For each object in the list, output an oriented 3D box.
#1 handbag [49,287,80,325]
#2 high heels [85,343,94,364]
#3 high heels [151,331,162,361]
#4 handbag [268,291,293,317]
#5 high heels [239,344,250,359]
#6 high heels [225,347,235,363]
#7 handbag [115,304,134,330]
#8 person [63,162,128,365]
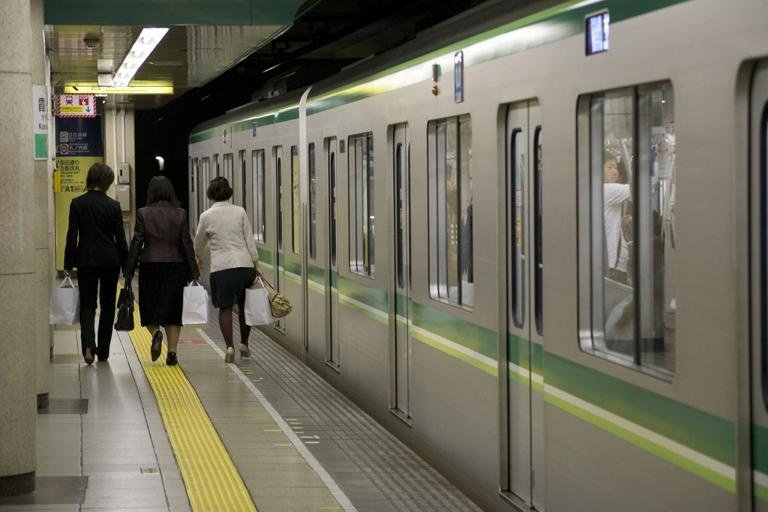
[{"bbox_3d":[-4.601,0.628,8.724,0.331,0.667,0.211,6,9,-15],"label":"handbag"},{"bbox_3d":[-4.473,1.524,9.252,0.109,0.366,0.156,-3,27,-16],"label":"high heels"},{"bbox_3d":[-3.444,1.348,9.156,0.177,0.550,0.220,4,12,-16],"label":"high heels"},{"bbox_3d":[-1.629,0.760,9.348,0.285,0.425,0.165,-32,3,-10],"label":"handbag"},{"bbox_3d":[-2.287,1.558,9.899,0.112,0.141,0.317,-2,-36,0],"label":"high heels"},{"bbox_3d":[-2.452,1.563,9.608,0.113,0.313,0.146,3,50,-12],"label":"high heels"},{"bbox_3d":[-3.773,0.912,8.793,0.231,0.400,0.427,1,3,-24],"label":"handbag"},{"bbox_3d":[-4.260,0.147,8.945,0.819,3.072,0.891,1,2,-28],"label":"person"}]
